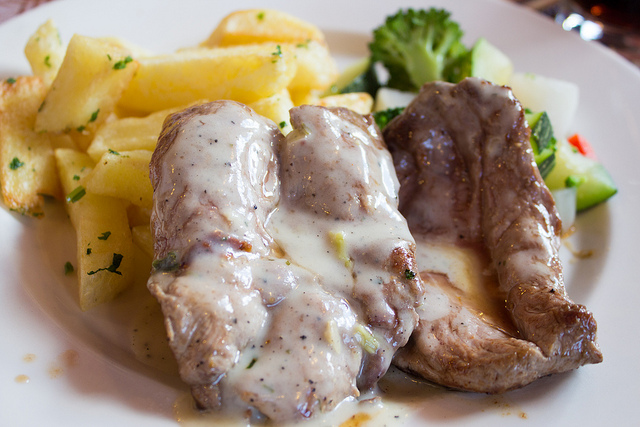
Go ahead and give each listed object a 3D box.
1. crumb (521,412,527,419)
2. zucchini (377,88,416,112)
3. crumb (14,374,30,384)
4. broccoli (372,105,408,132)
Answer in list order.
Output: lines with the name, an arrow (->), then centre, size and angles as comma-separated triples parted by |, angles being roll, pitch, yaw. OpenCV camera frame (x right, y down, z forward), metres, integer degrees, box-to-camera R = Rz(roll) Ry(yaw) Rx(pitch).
crumb -> 1.072, 1.076, 3.677 | 0.027, 0.010, 0.026 | 0, 62, -6
zucchini -> 0.576, -0.880, 5.345 | 0.236, 0.077, 0.276 | 8, 37, 4
crumb -> -1.557, 0.869, 3.611 | 0.070, 0.021, 0.051 | -3, 62, -7
broccoli -> 0.489, -0.699, 4.894 | 0.090, 0.192, 0.261 | 64, 28, -3
